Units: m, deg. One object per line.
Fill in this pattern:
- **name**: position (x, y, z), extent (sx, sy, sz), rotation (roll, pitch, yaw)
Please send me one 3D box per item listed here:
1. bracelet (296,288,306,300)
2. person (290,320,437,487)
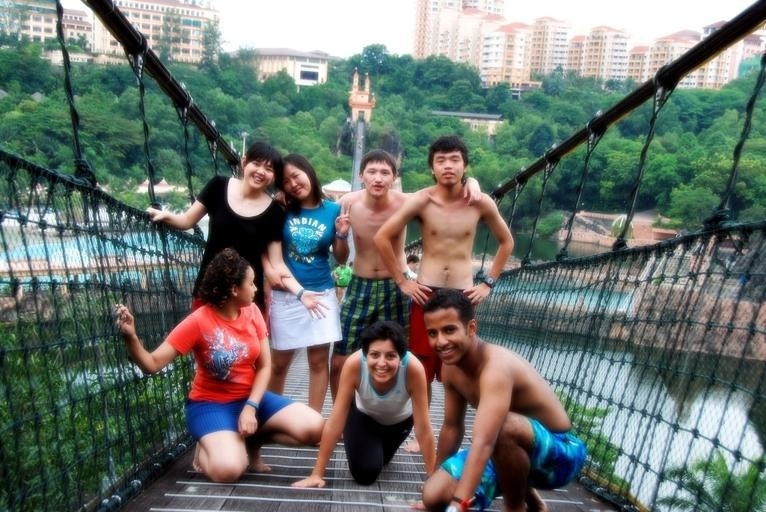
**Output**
- **bracelet**: position (-0.535, 0.248, 3.294), extent (0.025, 0.063, 0.065), rotation (37, -18, -7)
- **person**: position (-0.032, 0.708, 3.026), extent (0.949, 1.182, 0.794), rotation (5, 3, -1)
